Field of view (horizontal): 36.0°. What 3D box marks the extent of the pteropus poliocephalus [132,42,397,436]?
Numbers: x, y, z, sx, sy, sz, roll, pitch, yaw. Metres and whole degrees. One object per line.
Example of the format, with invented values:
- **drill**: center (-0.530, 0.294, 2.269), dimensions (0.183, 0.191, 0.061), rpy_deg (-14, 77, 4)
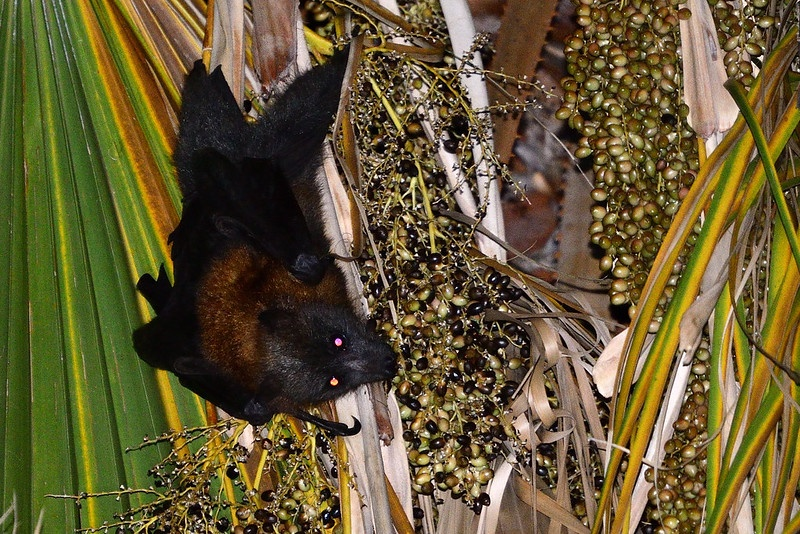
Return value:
- **pteropus poliocephalus**: center (-0.206, 0.007, 2.047), dimensions (0.471, 0.746, 0.369), rpy_deg (3, -4, 0)
